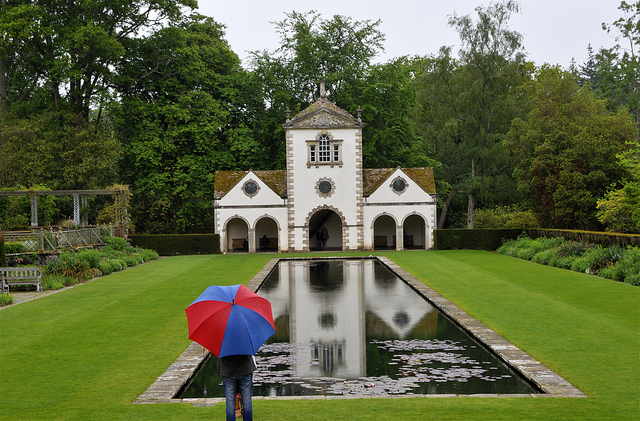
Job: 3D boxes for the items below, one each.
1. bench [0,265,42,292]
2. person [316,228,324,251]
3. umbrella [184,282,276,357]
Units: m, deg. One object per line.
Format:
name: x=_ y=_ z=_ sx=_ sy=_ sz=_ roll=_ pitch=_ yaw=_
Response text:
bench: x=-14.558 y=3.335 z=26.413 sx=1.604 sy=1.200 sz=1.488 roll=-2 pitch=2 yaw=-30
person: x=0.026 y=2.545 z=47.148 sx=0.567 sy=1.801 sz=1.146 roll=-1 pitch=2 yaw=-9
umbrella: x=-2.064 y=2.558 z=12.529 sx=1.906 sy=1.411 sz=0.870 roll=-1 pitch=2 yaw=-8
